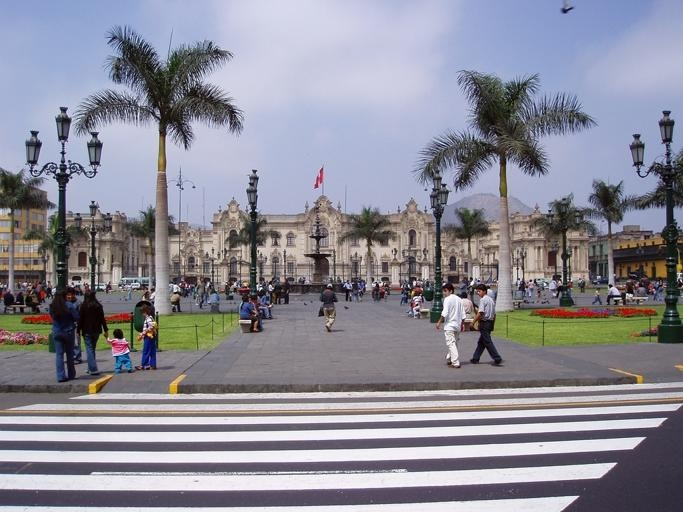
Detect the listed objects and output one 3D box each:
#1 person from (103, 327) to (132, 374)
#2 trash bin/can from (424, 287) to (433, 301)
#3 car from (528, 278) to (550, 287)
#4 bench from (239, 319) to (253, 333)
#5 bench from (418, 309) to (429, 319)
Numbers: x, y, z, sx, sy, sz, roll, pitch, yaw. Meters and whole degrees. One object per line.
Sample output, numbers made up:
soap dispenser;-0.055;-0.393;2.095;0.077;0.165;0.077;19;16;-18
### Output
person;-5.530;2.259;24.294;0.607;1.260;1.849;-2;9;-13
trash bin/can;4.681;2.063;51.964;0.543;0.672;0.553;-5;-7;44
car;16.429;2.216;81.076;1.485;0.793;0.919;-5;-2;22
bench;-3.119;2.263;31.570;0.449;0.408;0.382;-1;-7;-1
bench;3.197;2.239;37.706;0.297;0.242;0.313;1;7;0
